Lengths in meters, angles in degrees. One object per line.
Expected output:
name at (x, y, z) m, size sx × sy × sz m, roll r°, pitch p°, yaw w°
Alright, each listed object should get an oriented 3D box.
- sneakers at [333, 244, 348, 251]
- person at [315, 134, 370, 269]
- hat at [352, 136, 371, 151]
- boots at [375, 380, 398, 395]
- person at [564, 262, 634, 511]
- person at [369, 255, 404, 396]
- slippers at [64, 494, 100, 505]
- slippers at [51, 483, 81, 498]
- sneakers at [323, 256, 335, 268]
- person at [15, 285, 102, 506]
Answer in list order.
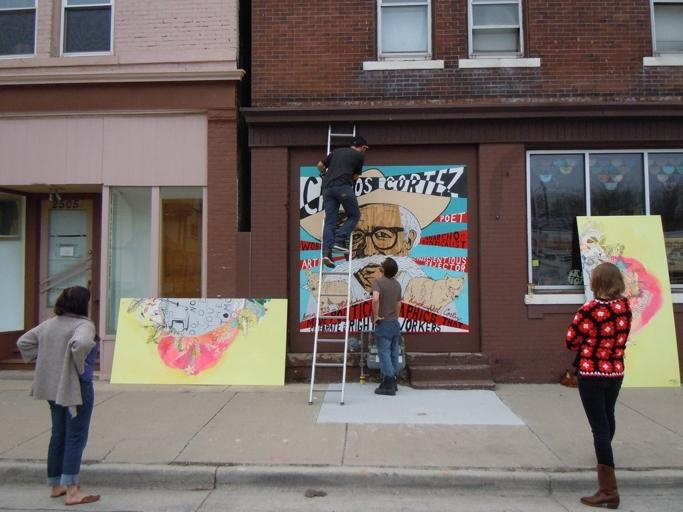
sneakers at (-0.021, -0.143, 15.528) m, size 0.299 × 0.143 × 0.106 m, roll 4°, pitch 1°, yaw -22°
person at (0.013, -0.961, 15.660) m, size 0.804 × 2.313 × 0.707 m, roll -1°, pitch 1°, yaw -3°
hat at (0.343, -2.017, 15.890) m, size 0.192 × 0.178 × 0.288 m, roll 7°, pitch 15°, yaw 19°
boots at (0.803, 2.312, 15.432) m, size 0.178 × 0.302 × 0.398 m, roll 2°, pitch -1°, yaw -41°
person at (3.744, 1.851, 12.776) m, size 0.870 × 3.492 × 0.459 m, roll 0°, pitch 1°, yaw 11°
person at (0.791, 1.243, 15.432) m, size 0.560 × 2.384 × 0.358 m, roll -1°, pitch 1°, yaw -13°
slippers at (-3.699, 3.494, 12.617) m, size 0.450 × 0.135 × 0.168 m, roll 1°, pitch -6°, yaw -23°
slippers at (-3.953, 3.375, 12.680) m, size 0.401 × 0.189 × 0.213 m, roll -2°, pitch 4°, yaw -25°
sneakers at (-0.225, 0.110, 15.439) m, size 0.174 × 0.208 × 0.249 m, roll -1°, pitch 2°, yaw -1°
person at (-3.997, 2.001, 12.701) m, size 0.986 × 3.093 × 0.503 m, roll -1°, pitch 1°, yaw -8°
